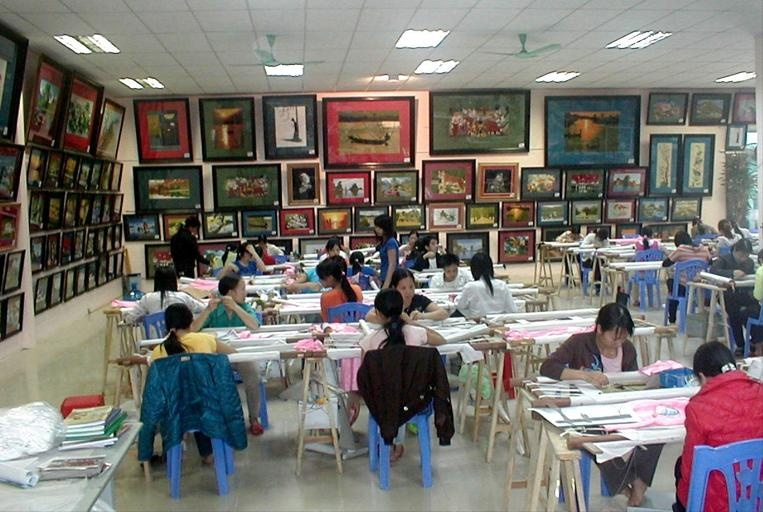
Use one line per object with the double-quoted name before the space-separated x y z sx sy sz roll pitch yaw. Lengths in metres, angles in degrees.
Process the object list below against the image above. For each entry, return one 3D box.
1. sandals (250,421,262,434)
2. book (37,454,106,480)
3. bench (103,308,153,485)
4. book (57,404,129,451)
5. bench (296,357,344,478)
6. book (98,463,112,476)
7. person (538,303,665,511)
"sandals" -1.406 1.927 6.355 0.085 0.052 0.146 0 18 -7
"book" -2.342 1.598 4.292 0.279 0.075 0.213 -3 3 -2
"bench" -2.639 1.459 5.906 0.549 1.272 1.458 3 8 -22
"book" -2.342 1.343 4.582 0.320 0.129 0.380 0 7 -8
"bench" -0.639 1.707 5.854 0.435 1.004 1.150 -2 4 -8
"book" -2.107 1.625 4.317 0.066 0.024 0.062 7 28 12
"person" 1.982 1.311 5.120 0.966 1.780 0.476 -4 3 -6
